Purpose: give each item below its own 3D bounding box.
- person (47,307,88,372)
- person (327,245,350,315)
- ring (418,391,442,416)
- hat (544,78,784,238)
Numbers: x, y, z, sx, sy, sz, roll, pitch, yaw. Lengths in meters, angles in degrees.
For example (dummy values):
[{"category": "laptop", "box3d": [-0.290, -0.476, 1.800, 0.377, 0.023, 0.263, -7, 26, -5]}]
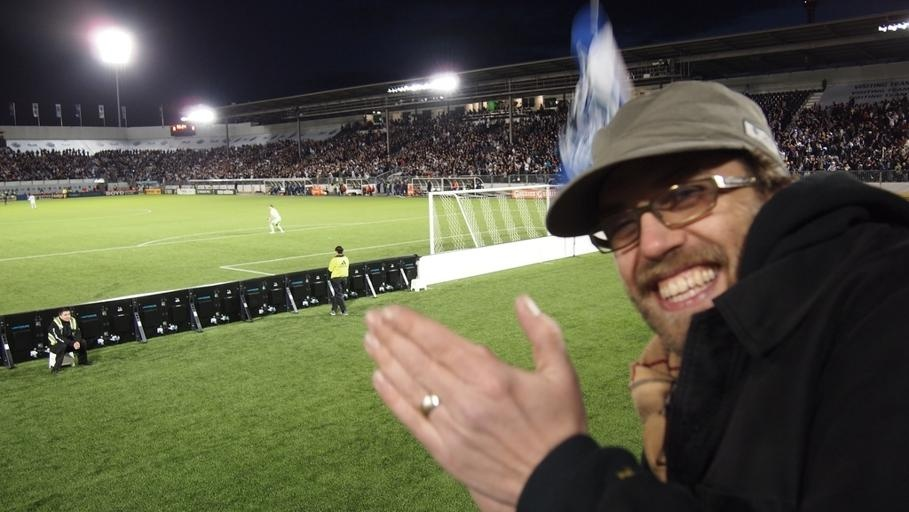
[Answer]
[{"category": "person", "box3d": [-7.540, 1.607, 10.924, 0.598, 0.973, 0.957, -10, 13, -36]}, {"category": "person", "box3d": [-2.955, 0.573, 14.455, 0.518, 1.616, 1.554, -5, 10, -11]}, {"category": "ring", "box3d": [-0.059, 0.376, 1.429, 0.014, 0.055, 0.058, 18, -31, -38]}, {"category": "hat", "box3d": [0.723, -0.408, 2.010, 0.714, 0.342, 0.542, -7, -27, 16]}]
